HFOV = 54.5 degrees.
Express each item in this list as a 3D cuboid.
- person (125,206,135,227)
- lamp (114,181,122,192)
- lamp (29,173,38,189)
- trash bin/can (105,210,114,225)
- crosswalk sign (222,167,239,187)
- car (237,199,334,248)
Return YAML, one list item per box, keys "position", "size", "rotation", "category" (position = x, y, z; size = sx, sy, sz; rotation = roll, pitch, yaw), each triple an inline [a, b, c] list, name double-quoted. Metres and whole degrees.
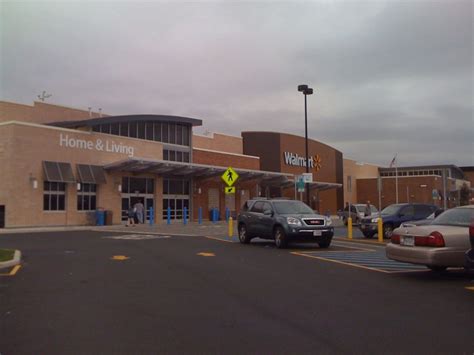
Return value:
- position: [-7.933, 2.834, 33.929]
  size: [0.537, 1.363, 1.856]
  rotation: [0, -1, -14]
  category: "person"
- position: [-8.905, 0.717, 34.158]
  size: [0.683, 0.873, 0.573]
  rotation: [0, 0, -17]
  category: "lamp"
- position: [-12.644, 0.229, 28.546]
  size: [0.579, 0.980, 0.301]
  rotation: [1, -1, -43]
  category: "lamp"
- position: [-9.071, 2.858, 32.344]
  size: [0.542, 1.007, 0.316]
  rotation: [1, -1, -39]
  category: "trash bin/can"
- position: [-0.576, -0.066, 32.236]
  size: [1.676, 1.845, 0.222]
  rotation: [-2, -7, 32]
  category: "crosswalk sign"
- position: [1.858, 1.856, 18.638]
  size: [1.765, 1.916, 4.020]
  rotation: [1, -1, -34]
  category: "car"
